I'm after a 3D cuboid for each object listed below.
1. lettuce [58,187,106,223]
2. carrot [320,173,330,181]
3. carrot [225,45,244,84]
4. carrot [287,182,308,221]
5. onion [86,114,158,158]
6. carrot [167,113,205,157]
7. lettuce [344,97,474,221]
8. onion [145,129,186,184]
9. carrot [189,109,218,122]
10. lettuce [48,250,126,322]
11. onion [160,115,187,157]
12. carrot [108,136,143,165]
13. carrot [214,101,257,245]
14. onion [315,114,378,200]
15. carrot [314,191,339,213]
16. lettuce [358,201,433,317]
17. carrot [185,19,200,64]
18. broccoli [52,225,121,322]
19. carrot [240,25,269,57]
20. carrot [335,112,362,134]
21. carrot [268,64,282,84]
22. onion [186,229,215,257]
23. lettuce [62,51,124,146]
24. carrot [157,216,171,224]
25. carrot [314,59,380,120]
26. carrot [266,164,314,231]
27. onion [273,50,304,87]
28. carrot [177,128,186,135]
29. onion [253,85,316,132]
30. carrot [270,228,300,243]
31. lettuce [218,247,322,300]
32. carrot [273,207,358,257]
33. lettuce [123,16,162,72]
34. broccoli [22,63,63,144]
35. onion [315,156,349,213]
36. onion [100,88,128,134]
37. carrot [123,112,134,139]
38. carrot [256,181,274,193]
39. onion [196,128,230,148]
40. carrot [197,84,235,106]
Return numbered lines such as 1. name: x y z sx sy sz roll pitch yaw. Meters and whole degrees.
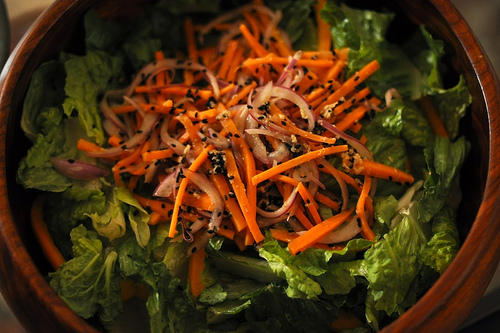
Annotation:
1. lettuce: -0.836 0.181 2.627 0.121 0.206 0.060 -17 27 10
2. carrot: 0.378 0.057 2.669 0.034 0.039 0.009 -3 -10 15
3. carrot: -0.085 -0.552 2.848 0.057 0.263 0.043 22 -15 -17
4. carrot: 0.217 0.181 2.578 0.023 0.105 0.108 23 22 0
5. onion: -0.634 -0.143 2.680 0.269 0.062 0.214 -49 7 21
6. carrot: -0.339 -0.170 2.614 0.053 0.224 0.158 -16 -14 -25
7. lettuce: 0.826 -0.101 2.698 0.517 0.658 0.235 -42 -10 26
8. onion: -0.462 -0.033 2.714 0.087 0.231 0.174 32 -9 22
9. carrot: -0.210 -0.261 2.614 0.076 0.022 0.081 -10 28 33
10. lettuce: -0.775 0.586 2.527 0.315 0.372 0.121 2 3 -30
11. onion: -0.411 -0.144 2.675 0.048 0.178 0.131 -27 -23 18
12. carrot: -0.639 -0.076 2.679 0.041 0.181 0.047 -45 -2 43
13. carrot: -0.064 -0.012 2.584 0.118 0.798 0.077 2 -12 -33
14. onion: 0.482 -0.036 2.689 0.098 0.386 0.373 -24 -26 -40
15. carrot: 0.381 0.174 2.621 0.098 0.041 0.075 32 -8 -1
16. lettuce: 0.701 0.439 2.477 0.089 0.313 0.475 -18 23 49
17. carrot: -0.336 -0.717 2.991 0.036 0.329 0.048 0 -17 -29
18. broccoli: -0.822 0.540 2.607 0.371 0.422 0.116 32 -31 -35
19. carrot: 0.021 -0.674 2.891 0.047 0.288 0.074 -12 -30 -34
20. carrot: 0.511 -0.218 2.663 0.106 0.113 0.037 -41 8 6
21. carrot: 0.126 -0.487 2.776 0.058 0.098 0.022 -13 13 -14
22. onion: -0.247 0.374 2.582 0.147 0.032 0.040 -49 -7 -8
23. lettuce: -0.839 -0.365 2.705 0.107 0.464 0.276 -7 -17 45
24. carrot: -0.435 0.271 2.642 0.039 0.040 0.014 13 14 -15
25. carrot: 0.496 -0.390 2.704 0.403 0.084 0.058 -43 10 -3
26. carrot: 0.200 0.149 2.576 0.043 0.330 0.044 -25 -3 -37
27. onion: 0.199 -0.501 2.718 0.036 0.272 0.022 35 2 6
28. carrot: -0.354 -0.177 2.677 0.033 0.038 0.009 -2 -20 4
29. onion: 0.115 -0.317 2.701 0.272 0.251 0.070 19 40 32
30. carrot: 0.164 0.339 2.582 0.182 0.055 0.052 9 4 -7
31. lettuce: 0.064 0.471 2.611 0.624 0.205 0.092 14 22 35
32. carrot: 0.326 0.321 2.580 0.431 0.181 0.150 -6 8 -14
33. lettuce: -0.609 -0.680 2.911 0.188 0.286 0.068 7 1 -19
34. broccoli: -1.035 -0.297 2.605 0.079 0.340 0.203 7 3 39
35. onion: 0.432 0.081 2.621 0.059 0.236 0.246 -9 48 -24
36. onion: -0.732 -0.291 2.758 0.166 0.216 0.050 12 -20 -38
37. carrot: -0.642 -0.213 2.744 0.028 0.188 0.024 -24 -20 27
38. carrot: 0.068 0.106 2.593 0.071 0.021 0.049 -44 56 -9
39. onion: -0.163 -0.126 2.568 0.079 0.122 0.027 -57 -5 -35
40. carrot: -0.161 -0.357 2.729 0.122 0.031 0.133 -32 2 29
